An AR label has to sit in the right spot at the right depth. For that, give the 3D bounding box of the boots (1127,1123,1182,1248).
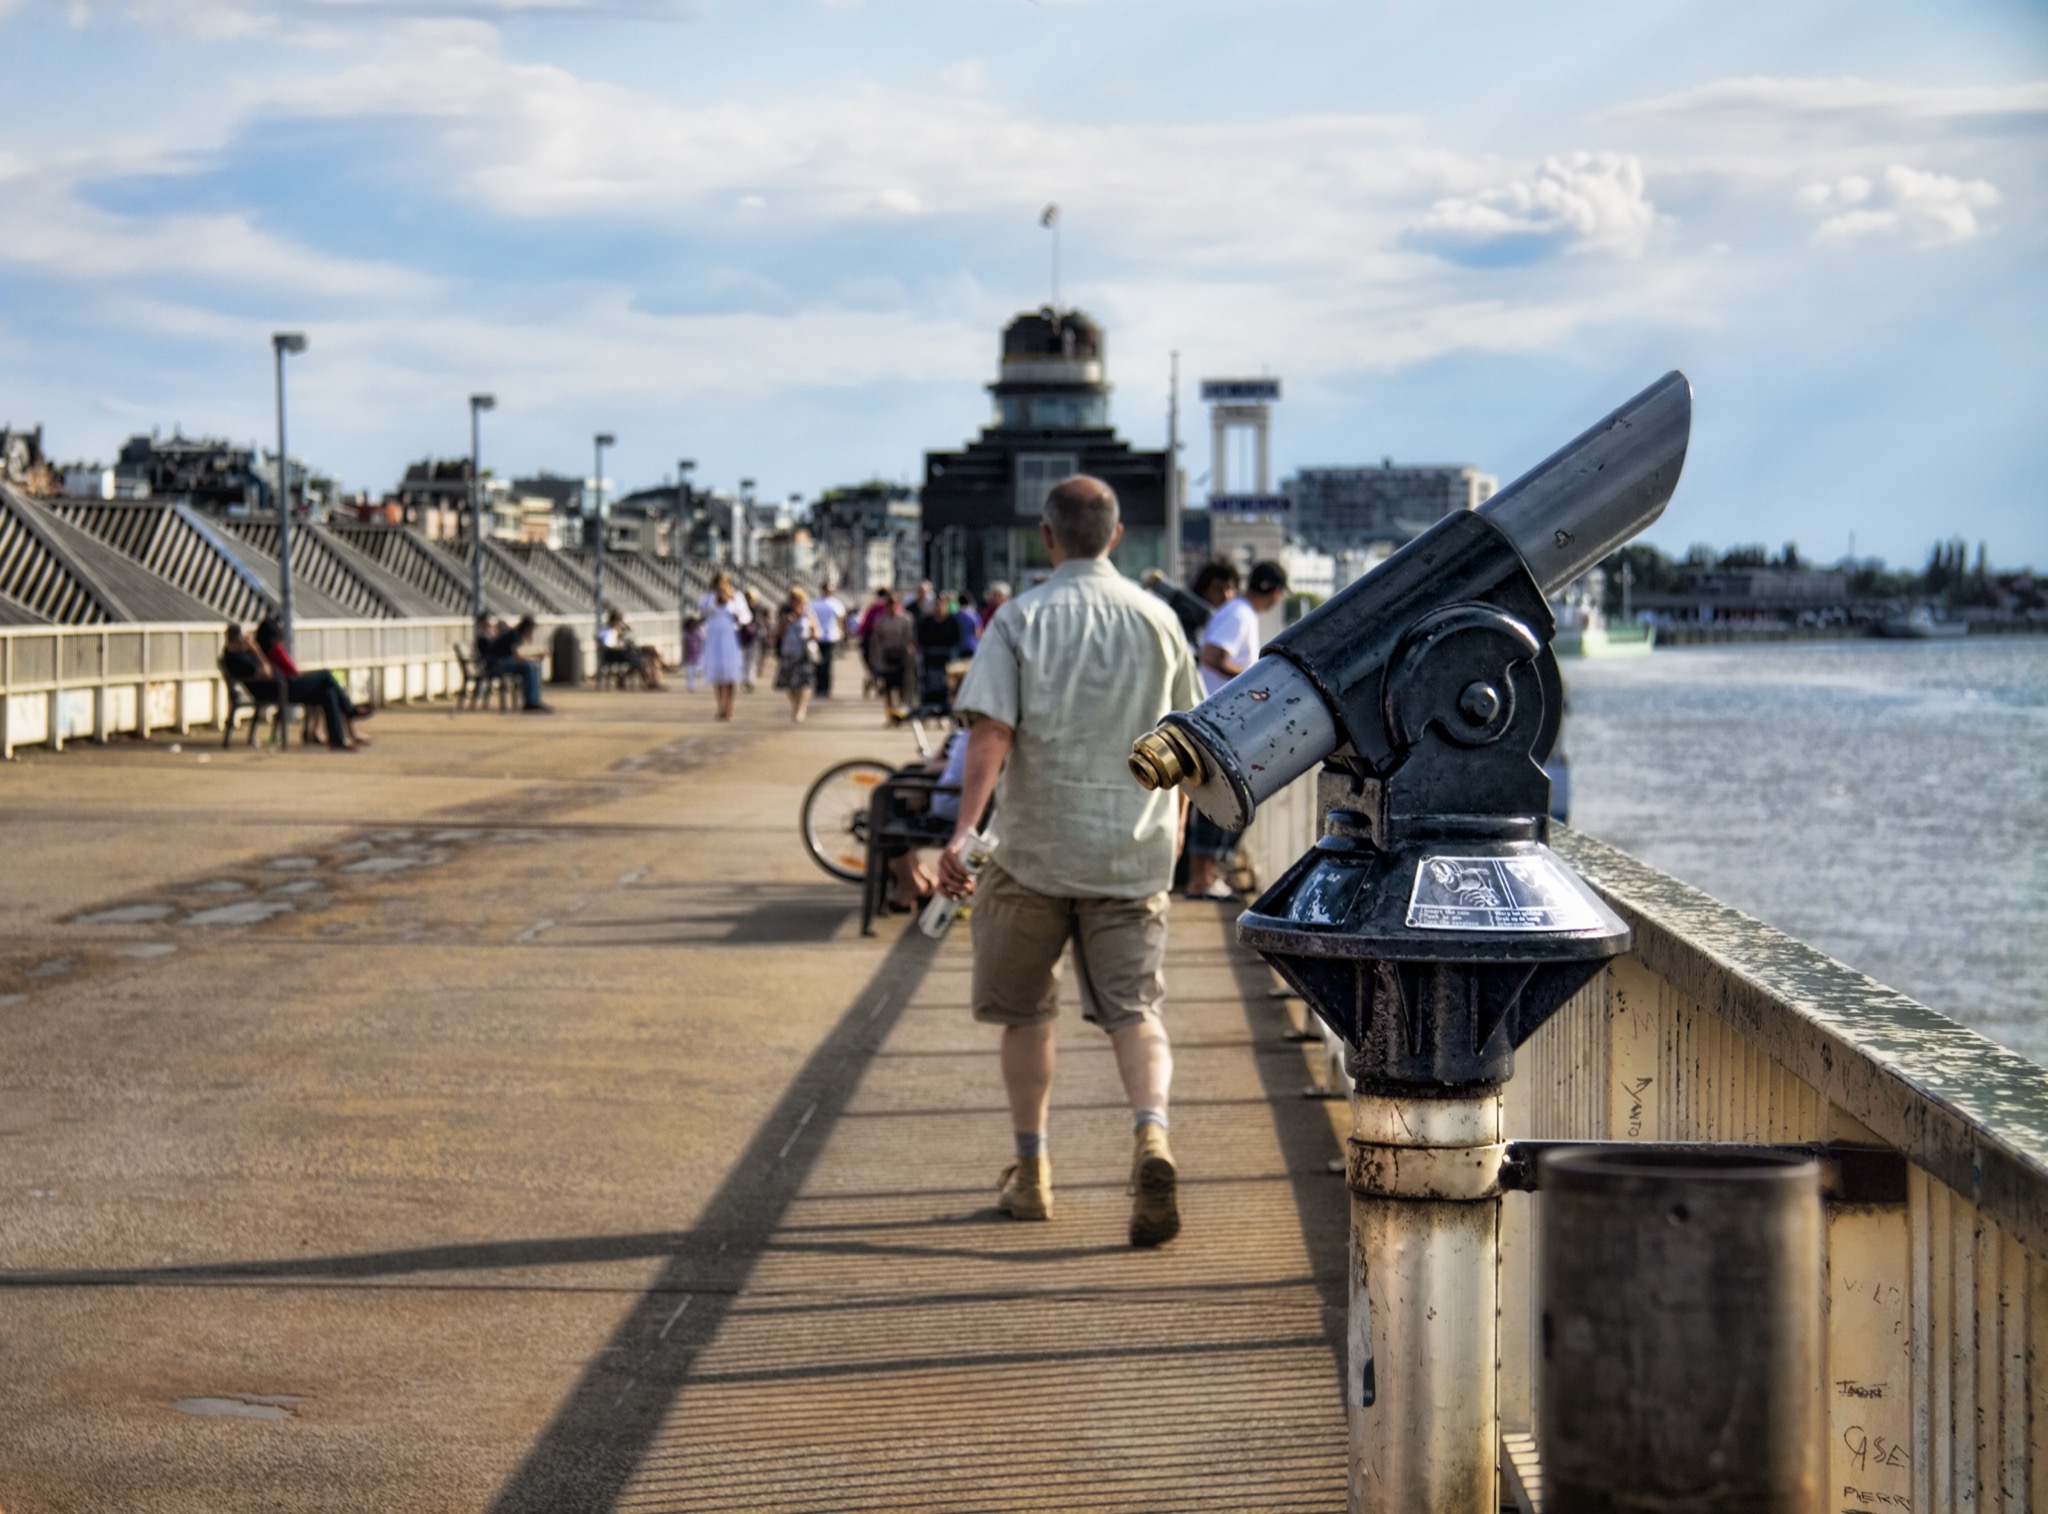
[{"bbox_3d":[0.379,1.232,8.507,0.134,0.355,0.161,-3,7,-8],"label":"boots"}]

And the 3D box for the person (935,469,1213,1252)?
[{"bbox_3d":[0.145,0.279,8.772,0.746,2.185,1.182,0,8,0],"label":"person"}]

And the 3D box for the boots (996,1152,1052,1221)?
[{"bbox_3d":[0.016,1.290,8.829,0.098,0.110,0.244,1,5,-3],"label":"boots"}]

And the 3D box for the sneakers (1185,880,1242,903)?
[{"bbox_3d":[1.006,0.688,15.520,0.305,0.131,0.104,-3,1,10],"label":"sneakers"}]

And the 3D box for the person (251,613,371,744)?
[{"bbox_3d":[-6.842,-0.737,28.499,0.911,1.163,2.757,-2,8,-15],"label":"person"}]
